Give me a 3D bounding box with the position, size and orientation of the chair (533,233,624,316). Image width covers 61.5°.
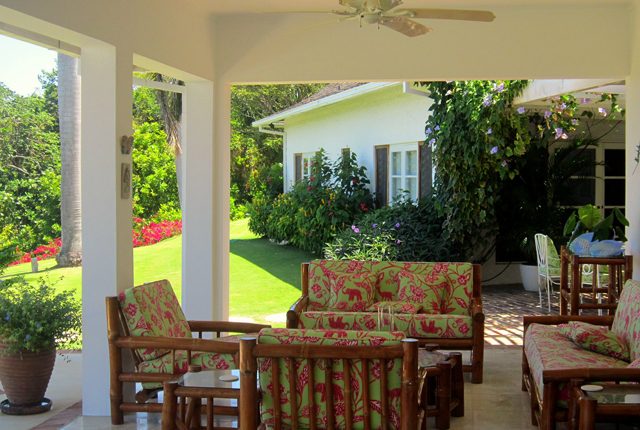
[{"bbox_3d":[3.599,0.838,7.470,0.387,0.684,1.254,-2,4,6],"label":"chair"}]

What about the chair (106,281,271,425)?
[{"bbox_3d":[-1.300,1.278,5.247,1.308,1.213,1.411,-1,-2,6],"label":"chair"}]

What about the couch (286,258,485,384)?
[{"bbox_3d":[0.802,1.218,6.357,2.199,1.271,1.106,-2,-5,14],"label":"couch"}]
